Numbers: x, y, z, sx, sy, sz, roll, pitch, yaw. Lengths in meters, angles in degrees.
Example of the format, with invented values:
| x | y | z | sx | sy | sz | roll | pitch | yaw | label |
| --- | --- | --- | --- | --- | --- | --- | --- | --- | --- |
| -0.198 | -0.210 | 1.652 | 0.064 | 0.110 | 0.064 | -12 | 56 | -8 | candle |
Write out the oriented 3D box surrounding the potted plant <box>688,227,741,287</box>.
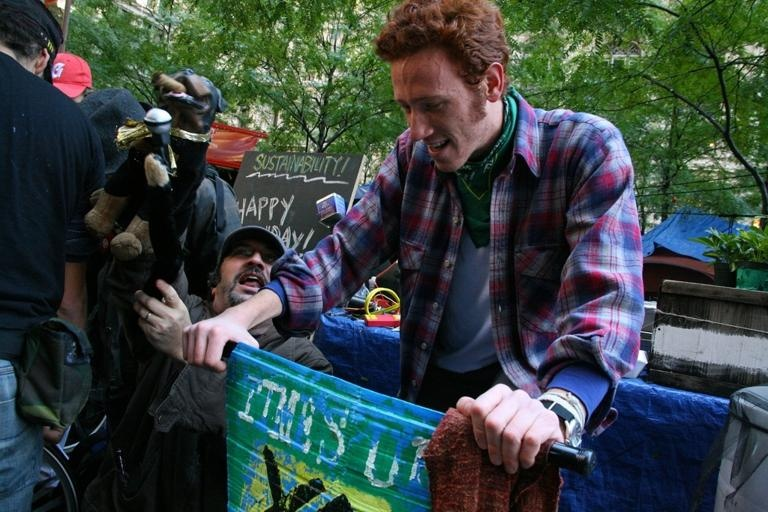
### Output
| x | y | z | sx | sy | sz | roll | pitch | yaw | label |
| --- | --- | --- | --- | --- | --- | --- | --- | --- | --- |
| 2.551 | 0.034 | 4.244 | 0.336 | 0.378 | 0.400 | 5 | -3 | 10 | potted plant |
